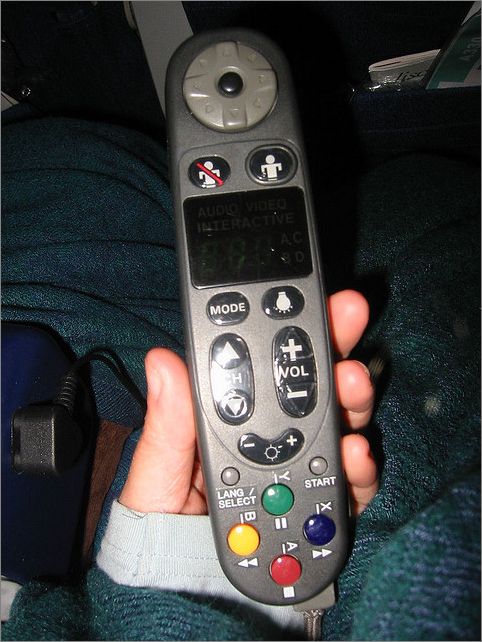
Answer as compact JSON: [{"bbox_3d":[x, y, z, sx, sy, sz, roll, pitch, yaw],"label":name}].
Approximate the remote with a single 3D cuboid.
[{"bbox_3d":[0.012,-0.002,0.573,0.174,0.089,0.607,-7,92,-6],"label":"remote"}]
